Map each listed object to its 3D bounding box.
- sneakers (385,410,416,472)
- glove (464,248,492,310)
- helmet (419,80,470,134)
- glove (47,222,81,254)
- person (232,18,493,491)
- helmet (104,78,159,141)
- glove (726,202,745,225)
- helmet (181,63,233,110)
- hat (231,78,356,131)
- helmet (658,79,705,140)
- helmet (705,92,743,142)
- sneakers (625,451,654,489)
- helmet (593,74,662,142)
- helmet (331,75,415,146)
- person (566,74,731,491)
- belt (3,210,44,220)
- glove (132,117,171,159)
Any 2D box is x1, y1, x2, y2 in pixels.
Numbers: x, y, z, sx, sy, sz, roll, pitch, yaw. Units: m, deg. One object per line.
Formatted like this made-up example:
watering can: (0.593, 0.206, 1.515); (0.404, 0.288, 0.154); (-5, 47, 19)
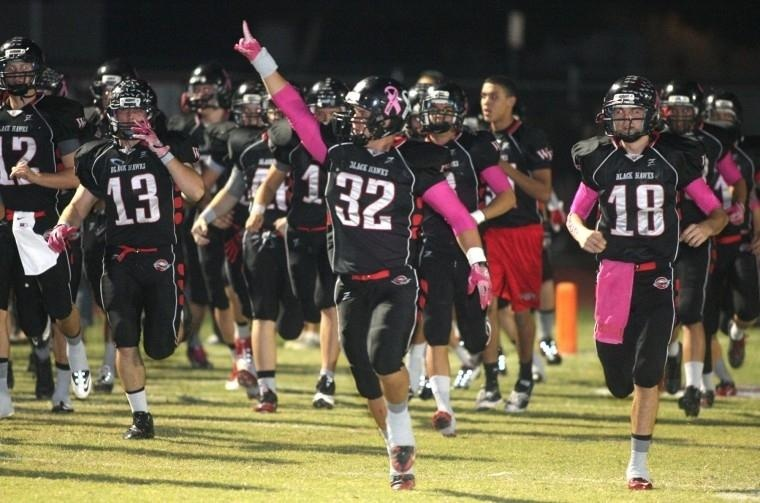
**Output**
sneakers: (0.159, 1.436, 8.141); (0.164, 0.523, 0.171); (-13, -24, 14)
glove: (0.775, 0.209, 8.394); (0.299, 0.429, 0.128); (-6, -4, -16)
helmet: (0.578, -1.320, 9.600); (0.471, 0.427, 0.537); (4, 11, 14)
glove: (-2.707, -0.127, 9.092); (0.249, 0.145, 0.322); (-32, 9, 0)
person: (-0.037, 0.187, 8.375); (1.635, 3.166, 0.735); (6, 9, 30)
helmet: (-2.141, -1.277, 9.103); (0.427, 0.436, 0.491); (-2, 29, -14)
glove: (3.416, -0.361, 10.102); (0.187, 0.224, 0.111); (-19, -12, 4)
helmet: (-1.885, -1.809, 11.628); (0.464, 0.470, 0.583); (3, 11, 13)
hat: (-0.861, -1.437, 9.955); (1.152, 0.483, 0.658); (5, 13, 6)
helmet: (2.915, -1.420, 10.166); (0.411, 0.455, 0.520); (2, 24, 22)
helmet: (3.559, -1.461, 11.142); (0.407, 0.440, 0.495); (4, 13, 10)
sneakers: (2.020, 1.713, 8.229); (0.169, 0.276, 0.434); (12, 2, 1)
helmet: (2.089, -1.207, 8.679); (0.440, 0.432, 0.578); (3, 21, 22)
helmet: (0.019, -1.124, 8.390); (0.636, 0.458, 0.427); (-2, 15, -4)
person: (2.057, 0.189, 8.497); (1.081, 3.166, 1.015); (6, 9, 29)
belt: (-3.241, -0.328, 9.474); (0.152, 0.048, 0.141); (2, -18, -37)
glove: (-1.906, -0.923, 8.904); (0.287, 0.359, 0.219); (5, 9, 30)
